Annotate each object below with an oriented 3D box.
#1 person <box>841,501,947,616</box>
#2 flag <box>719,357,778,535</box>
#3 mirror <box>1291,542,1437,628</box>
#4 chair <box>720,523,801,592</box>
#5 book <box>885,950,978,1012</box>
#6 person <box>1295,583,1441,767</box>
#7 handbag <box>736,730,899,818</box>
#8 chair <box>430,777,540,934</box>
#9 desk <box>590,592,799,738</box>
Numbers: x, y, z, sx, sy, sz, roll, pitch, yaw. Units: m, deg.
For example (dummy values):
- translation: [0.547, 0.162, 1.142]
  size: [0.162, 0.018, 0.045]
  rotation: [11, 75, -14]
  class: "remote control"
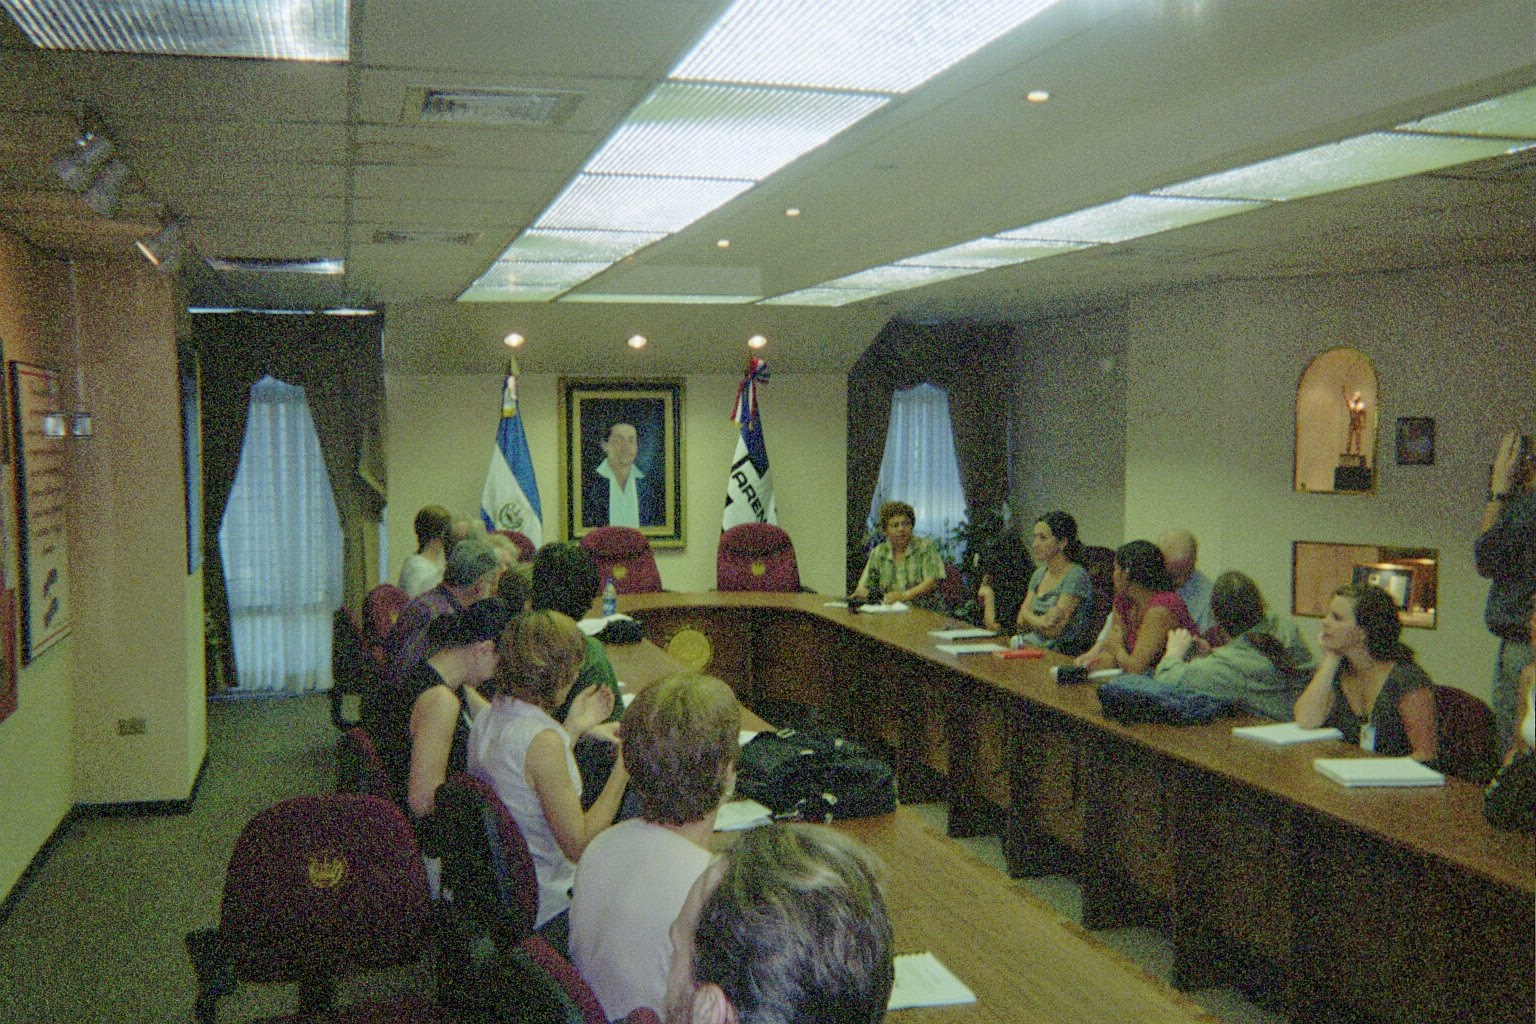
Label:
- translation: [0.944, 0.338, 8.801]
  size: [0.751, 0.930, 0.702]
  rotation: [0, -6, 7]
  class: "person"
- translation: [-0.185, -0.575, 10.257]
  size: [0.505, 1.338, 0.859]
  rotation: [-6, 11, 1]
  class: "flag"
- translation: [2.433, 0.308, 5.145]
  size: [0.020, 0.323, 0.696]
  rotation: [-5, 4, -23]
  class: "mirror"
- translation: [-0.067, 0.357, 9.566]
  size: [0.500, 0.671, 0.530]
  rotation: [-1, -6, -3]
  class: "chair"
- translation: [0.500, 1.441, 3.842]
  size: [0.257, 0.068, 0.225]
  rotation: [-6, 11, 2]
  class: "book"
- translation: [2.495, 0.758, 5.162]
  size: [0.537, 0.843, 0.430]
  rotation: [0, -1, 44]
  class: "person"
- translation: [0.222, 0.913, 4.734]
  size: [0.444, 0.153, 0.428]
  rotation: [2, 3, -28]
  class: "handbag"
- translation: [-0.941, 1.136, 4.125]
  size: [0.332, 0.547, 0.216]
  rotation: [-7, 11, -1]
  class: "chair"
- translation: [-0.600, 1.105, 8.101]
  size: [0.753, 0.665, 1.345]
  rotation: [-8, 16, -28]
  class: "desk"
